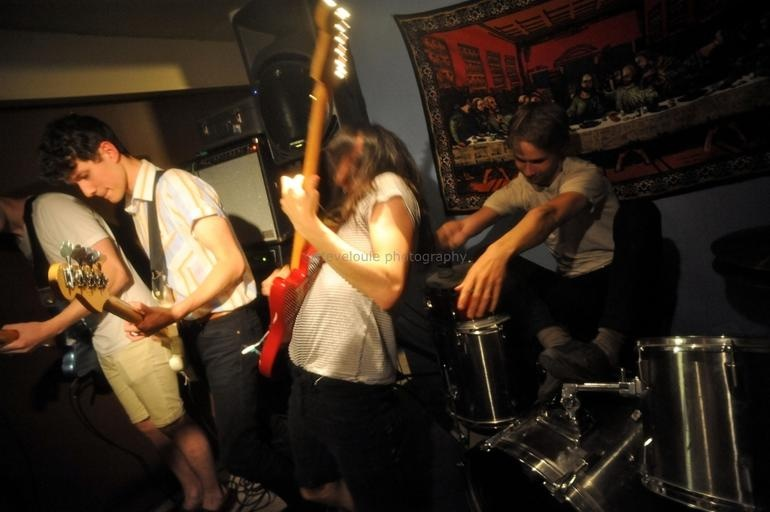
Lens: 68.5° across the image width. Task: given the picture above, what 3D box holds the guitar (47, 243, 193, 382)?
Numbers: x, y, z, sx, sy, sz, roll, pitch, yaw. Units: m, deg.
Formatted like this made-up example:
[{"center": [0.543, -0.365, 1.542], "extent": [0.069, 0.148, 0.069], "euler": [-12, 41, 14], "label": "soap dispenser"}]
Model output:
[{"center": [-1.504, 0.330, 3.240], "extent": [0.139, 0.304, 0.801], "euler": [-11, -25, 16], "label": "guitar"}]

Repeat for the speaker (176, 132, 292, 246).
[{"center": [-0.820, -0.440, 3.997], "extent": [0.575, 0.691, 0.754], "euler": [-21, 13, -42], "label": "speaker"}]
